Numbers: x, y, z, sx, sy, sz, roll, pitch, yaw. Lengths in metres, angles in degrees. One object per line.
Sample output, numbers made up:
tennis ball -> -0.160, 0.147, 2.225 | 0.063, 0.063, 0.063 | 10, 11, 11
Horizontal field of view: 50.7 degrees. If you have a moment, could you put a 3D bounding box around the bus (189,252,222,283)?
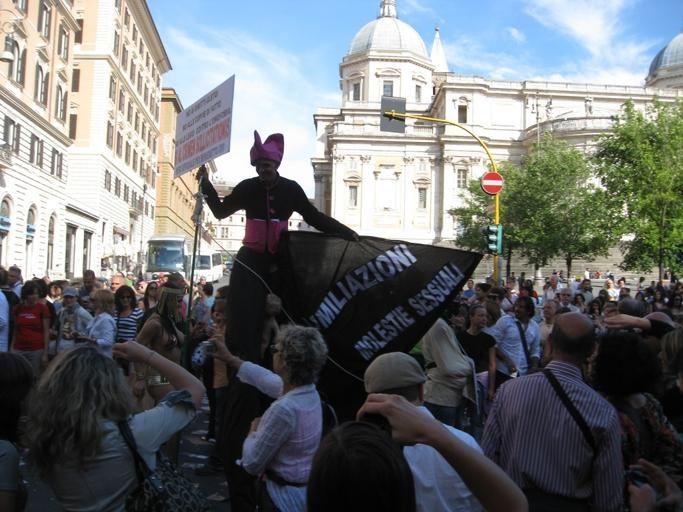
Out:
bus -> -6.903, 0.617, 36.752 | 1.703, 1.547, 3.119 | -1, -5, -2

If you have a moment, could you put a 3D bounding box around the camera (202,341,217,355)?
camera -> -0.940, 0.648, 5.111 | 0.088, 0.098, 0.068 | 5, -7, -11

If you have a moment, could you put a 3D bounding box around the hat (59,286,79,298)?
hat -> -4.171, 0.539, 11.037 | 0.235, 0.184, 0.314 | 1, -13, -6

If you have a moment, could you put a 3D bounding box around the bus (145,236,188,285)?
bus -> -8.471, 0.157, 34.747 | 2.146, 2.831, 3.120 | 0, -7, -7

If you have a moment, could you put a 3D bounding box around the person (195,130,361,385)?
person -> -0.688, -0.069, 6.451 | 1.290, 2.005, 0.543 | 5, -7, -13
